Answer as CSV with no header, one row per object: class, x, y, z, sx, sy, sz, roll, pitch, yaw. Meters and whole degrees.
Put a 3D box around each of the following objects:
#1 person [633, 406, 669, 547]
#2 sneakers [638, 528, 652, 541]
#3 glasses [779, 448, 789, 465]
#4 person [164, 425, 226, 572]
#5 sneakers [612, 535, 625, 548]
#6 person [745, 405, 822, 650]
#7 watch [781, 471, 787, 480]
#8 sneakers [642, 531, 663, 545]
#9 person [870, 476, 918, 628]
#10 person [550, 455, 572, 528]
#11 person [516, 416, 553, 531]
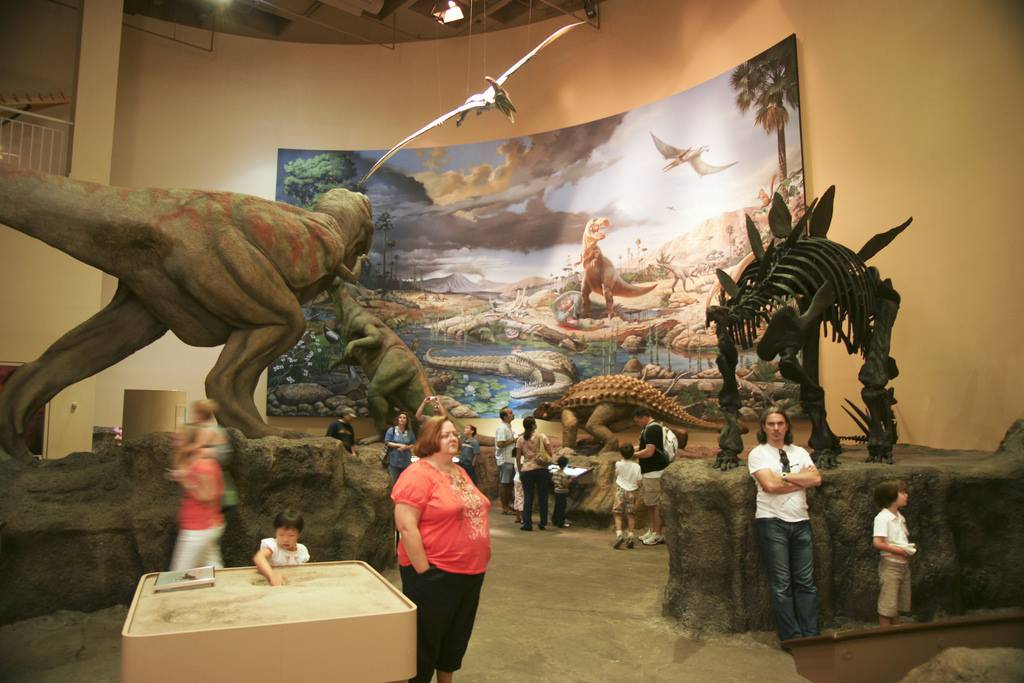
person,1.736,1.812,8.958,0.390,1.677,1.564,2,3,12
sneakers,1.746,2.532,9.364,0.314,0.123,0.102,4,-6,-24
glasses,2.307,0.996,6.114,0.047,0.105,0.056,-9,4,-21
person,-2.545,1.272,5.831,0.378,1.124,0.343,0,3,-23
sneakers,1.304,2.517,8.928,0.094,0.102,0.244,0,-38,-22
person,2.297,1.544,6.097,0.585,1.869,0.316,2,3,16
watch,2.290,1.144,6.078,0.044,0.053,0.052,10,-1,23
sneakers,1.769,2.500,9.111,0.224,0.076,0.176,4,-8,-26
person,3.240,1.794,6.125,0.292,1.227,0.486,3,3,29
person,0.711,2.172,10.454,0.276,0.988,0.497,2,3,5
person,0.293,1.849,9.986,0.455,1.644,0.648,2,3,6
